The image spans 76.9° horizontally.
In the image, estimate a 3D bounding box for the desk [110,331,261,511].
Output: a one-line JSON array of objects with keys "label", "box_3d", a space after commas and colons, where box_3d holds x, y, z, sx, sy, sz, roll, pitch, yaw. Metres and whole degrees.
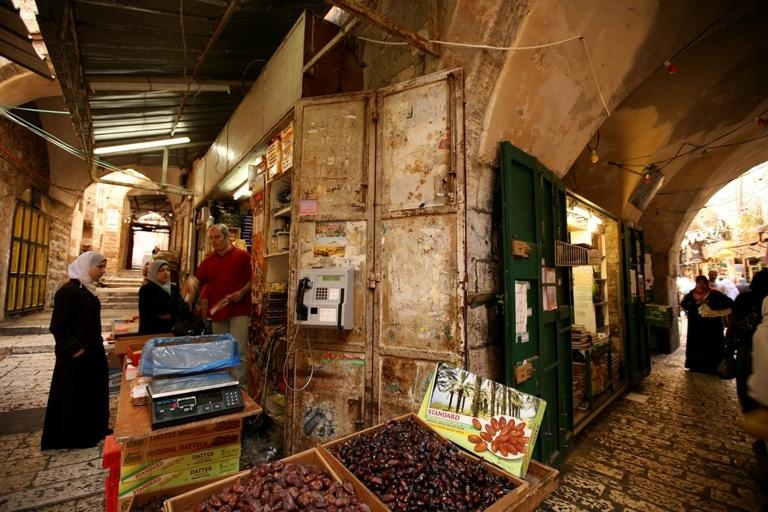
[{"label": "desk", "box_3d": [-2.652, 1.515, 6.394, 1.790, 1.595, 3.233, -1, 2, -32]}]

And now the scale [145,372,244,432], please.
[{"label": "scale", "box_3d": [-2.321, 1.729, 6.005, 1.021, 0.345, 0.722, -3, 13, -22]}]

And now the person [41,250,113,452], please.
[{"label": "person", "box_3d": [-4.760, 1.445, 7.565, 0.876, 3.062, 0.352, 2, -5, -35]}]

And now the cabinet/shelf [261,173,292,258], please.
[{"label": "cabinet/shelf", "box_3d": [-1.781, -0.691, 8.173, 0.419, 1.334, 0.587, 0, -4, -15]}]
